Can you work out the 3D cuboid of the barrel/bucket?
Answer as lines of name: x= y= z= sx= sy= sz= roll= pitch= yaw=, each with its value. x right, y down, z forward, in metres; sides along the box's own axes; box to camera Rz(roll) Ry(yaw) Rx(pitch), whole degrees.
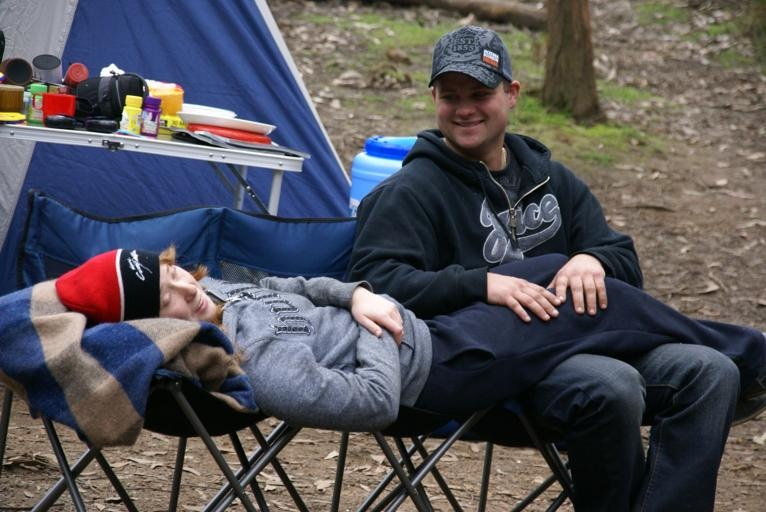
barrel/bucket: x=-0.037 y=-0.594 z=7.504 sx=0.516 sy=0.580 sz=0.528 roll=7 pitch=10 yaw=-1

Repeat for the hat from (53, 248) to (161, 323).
hat: x=-1.187 y=0.128 z=4.887 sx=0.425 sy=0.271 sz=0.182 roll=7 pitch=-25 yaw=-4

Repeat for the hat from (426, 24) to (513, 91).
hat: x=0.467 y=-1.066 z=5.911 sx=0.427 sy=0.322 sz=0.611 roll=2 pitch=7 yaw=13

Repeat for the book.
book: x=-0.859 y=-0.674 z=6.554 sx=0.931 sy=0.104 sz=0.193 roll=7 pitch=25 yaw=-24

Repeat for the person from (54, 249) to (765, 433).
person: x=0.113 y=0.285 z=5.381 sx=3.033 sy=1.032 sz=1.209 roll=-3 pitch=19 yaw=-9

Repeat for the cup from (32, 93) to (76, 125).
cup: x=-1.829 y=-0.827 z=6.257 sx=0.214 sy=0.157 sz=0.140 roll=-1 pitch=-4 yaw=4

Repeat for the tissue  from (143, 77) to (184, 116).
tissue : x=-1.271 y=-0.942 z=6.619 sx=0.177 sy=0.175 sz=0.234 roll=-14 pitch=18 yaw=-42

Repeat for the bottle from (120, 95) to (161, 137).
bottle: x=-1.364 y=-0.800 z=6.329 sx=0.268 sy=0.268 sz=0.169 roll=7 pitch=2 yaw=-4
